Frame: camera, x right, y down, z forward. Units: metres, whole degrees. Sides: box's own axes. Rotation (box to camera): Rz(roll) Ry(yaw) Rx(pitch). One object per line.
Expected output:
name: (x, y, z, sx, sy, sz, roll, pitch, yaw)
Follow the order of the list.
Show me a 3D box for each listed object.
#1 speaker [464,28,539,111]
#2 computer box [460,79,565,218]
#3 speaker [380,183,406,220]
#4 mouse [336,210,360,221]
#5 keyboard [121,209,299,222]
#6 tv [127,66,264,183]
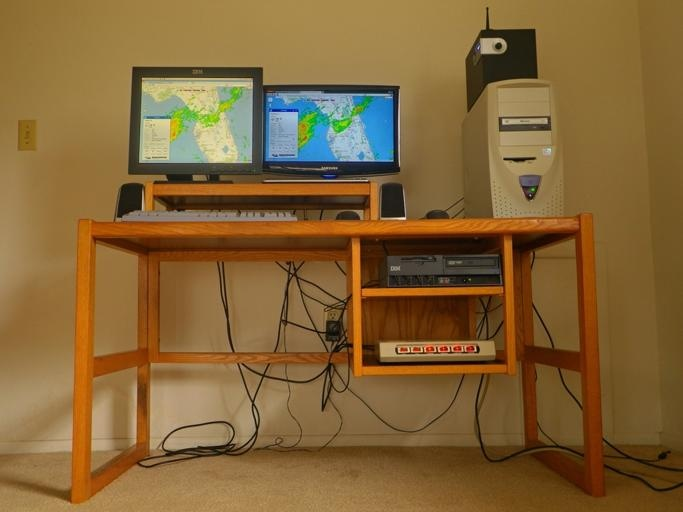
speaker: (0.711, -0.740, 3.096, 0.295, 0.361, 0.527, -1, 5, 0)
computer box: (0.741, -0.472, 2.983, 0.494, 0.617, 0.336, 4, 10, 26)
speaker: (0.219, -0.239, 2.916, 0.113, 0.155, 0.180, 0, 9, 3)
mouse: (0.023, -0.175, 2.878, 0.093, 0.031, 0.167, -1, 10, 0)
keyboard: (-0.551, -0.173, 2.830, 0.723, 0.043, 0.167, 0, 10, 0)
tv: (-0.669, -0.614, 3.060, 0.490, 0.433, 0.180, 0, -11, -2)
